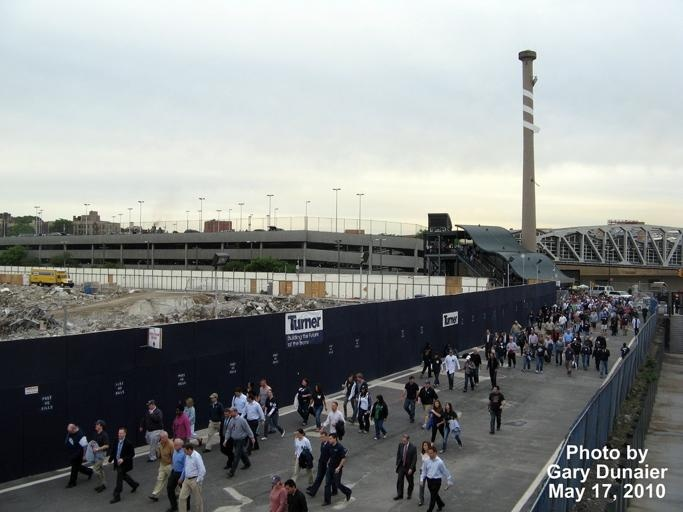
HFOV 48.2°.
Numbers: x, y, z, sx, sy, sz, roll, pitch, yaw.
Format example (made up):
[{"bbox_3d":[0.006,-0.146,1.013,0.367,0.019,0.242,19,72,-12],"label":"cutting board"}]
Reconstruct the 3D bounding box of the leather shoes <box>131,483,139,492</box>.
[{"bbox_3d":[-6.579,7.320,24.133,0.209,0.309,0.369,0,3,-19],"label":"leather shoes"}]
